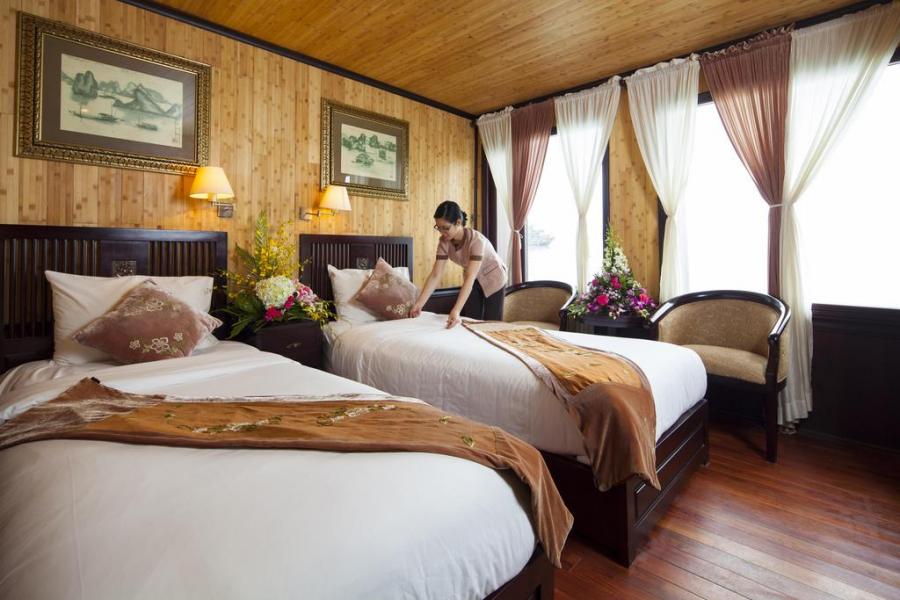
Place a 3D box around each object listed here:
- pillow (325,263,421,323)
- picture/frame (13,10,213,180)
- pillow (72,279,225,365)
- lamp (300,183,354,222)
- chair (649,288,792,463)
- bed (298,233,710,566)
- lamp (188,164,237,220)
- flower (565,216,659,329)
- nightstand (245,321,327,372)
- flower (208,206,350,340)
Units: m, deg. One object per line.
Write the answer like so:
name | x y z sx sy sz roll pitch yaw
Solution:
pillow | -0.946 -0.063 5.684 0.687 0.660 0.200 1 -18 -26
picture/frame | -2.810 -1.671 4.795 1.609 1.148 0.061 2 2 -42
pillow | -2.192 0.178 4.288 0.855 0.497 0.449 3 7 -1
lamp | -1.217 -0.977 5.897 0.472 0.282 0.322 -4 -1 30
chair | 2.401 0.592 5.284 1.079 1.327 0.736 4 10 36
bed | 0.578 0.448 5.660 3.695 1.975 2.968 8 9 38
lamp | -2.056 -0.927 5.186 0.404 0.440 0.477 1 -2 -5
flower | 1.563 -0.225 6.159 0.911 0.963 0.914 -3 1 -28
nightstand | -1.427 0.313 5.245 0.500 0.474 0.360 -3 30 -23
flower | -1.744 -0.124 5.319 0.745 0.874 0.843 11 20 28
